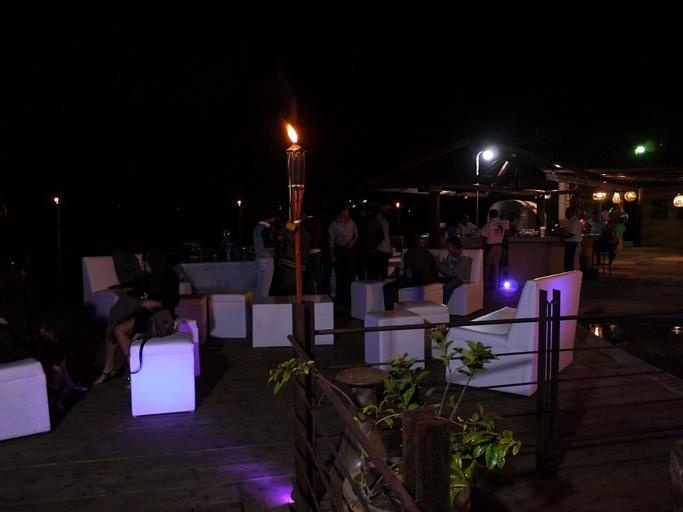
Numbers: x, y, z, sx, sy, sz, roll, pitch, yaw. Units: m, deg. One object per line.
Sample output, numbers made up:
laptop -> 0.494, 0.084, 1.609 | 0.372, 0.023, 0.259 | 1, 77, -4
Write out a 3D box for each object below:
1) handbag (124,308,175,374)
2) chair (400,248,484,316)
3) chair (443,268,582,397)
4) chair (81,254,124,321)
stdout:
handbag -> -1.997, 0.831, 5.541 | 0.223, 0.697, 0.505 | 16, 4, -10
chair -> 1.756, 0.678, 9.853 | 1.141, 1.726, 1.648 | 2, -2, -40
chair -> 1.962, 0.283, 5.911 | 1.148, 1.717, 2.226 | 1, 3, 34
chair -> -4.142, 0.569, 9.298 | 0.758, 1.050, 1.060 | 6, 5, -5
